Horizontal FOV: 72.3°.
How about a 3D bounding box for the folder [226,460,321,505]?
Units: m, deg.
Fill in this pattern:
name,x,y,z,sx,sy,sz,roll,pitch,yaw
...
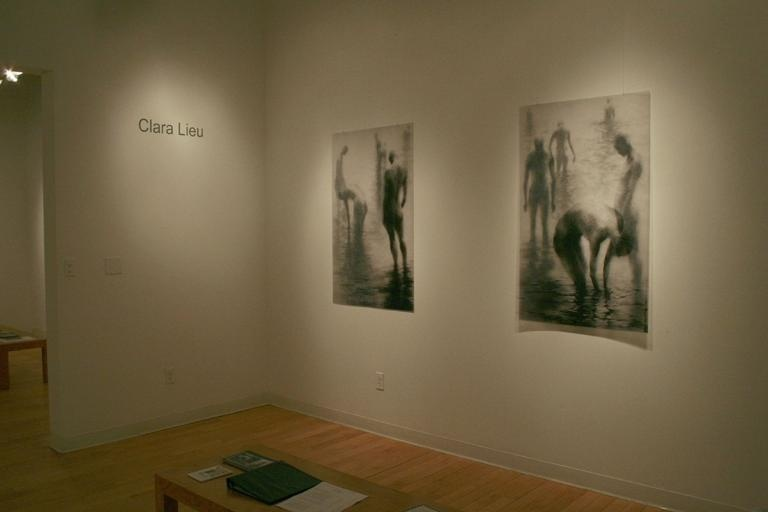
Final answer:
name,x,y,z,sx,sy,sz,roll,pitch,yaw
folder,-0.691,1.422,3.308,0.450,0.065,0.420,4,7,36
